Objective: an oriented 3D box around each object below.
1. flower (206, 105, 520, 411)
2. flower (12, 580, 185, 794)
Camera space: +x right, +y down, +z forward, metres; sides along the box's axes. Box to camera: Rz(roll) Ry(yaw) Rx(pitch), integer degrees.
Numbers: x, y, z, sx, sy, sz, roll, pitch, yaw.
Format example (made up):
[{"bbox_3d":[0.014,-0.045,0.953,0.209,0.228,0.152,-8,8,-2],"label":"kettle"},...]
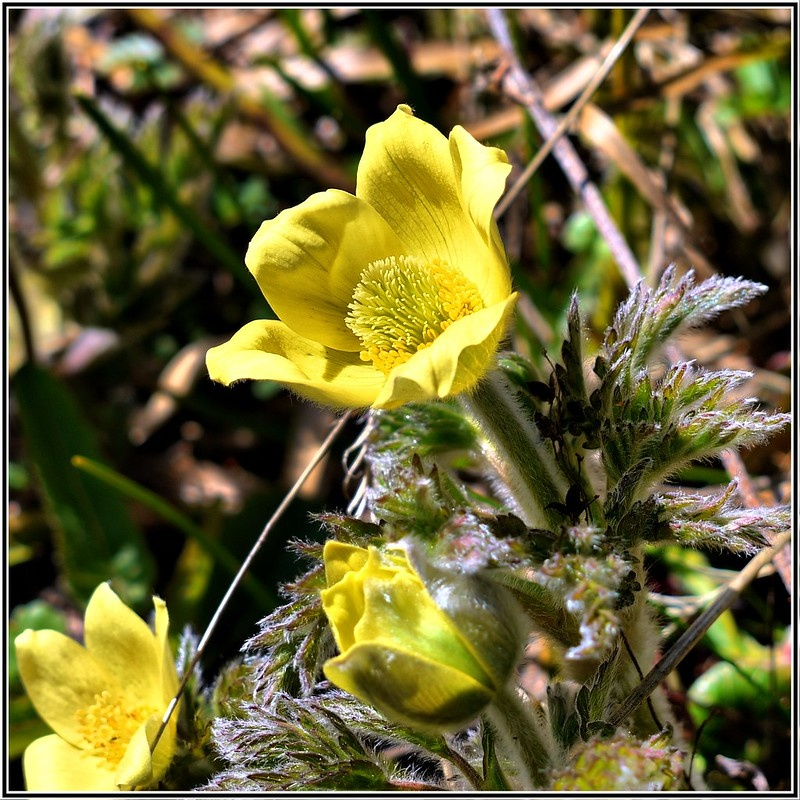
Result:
[{"bbox_3d":[-0.022,-0.162,1.279,0.415,0.324,0.482,1,58,16],"label":"flower"},{"bbox_3d":[-0.418,0.453,1.476,0.297,0.168,0.326,-9,70,36],"label":"flower"}]
